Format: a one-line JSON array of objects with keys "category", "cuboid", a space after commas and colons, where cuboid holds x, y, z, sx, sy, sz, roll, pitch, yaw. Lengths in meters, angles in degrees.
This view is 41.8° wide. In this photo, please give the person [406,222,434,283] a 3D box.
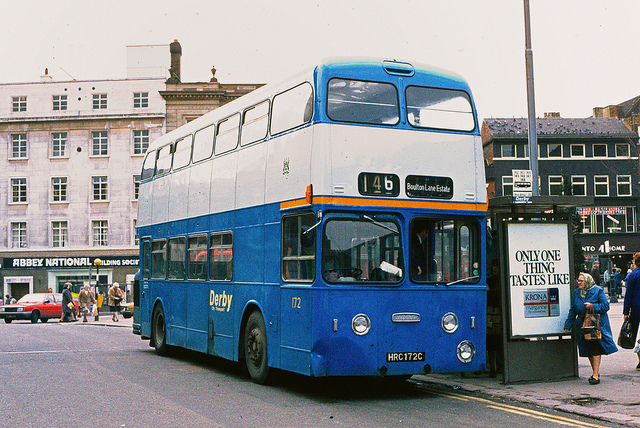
[{"category": "person", "cuboid": [2.179, 0.823, 18.300, 0.689, 1.240, 0.177, -2, -3, -32]}]

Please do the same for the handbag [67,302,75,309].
[{"category": "handbag", "cuboid": [-12.601, 4.612, 42.187, 0.332, 0.346, 0.097, 3, -1, -38]}]

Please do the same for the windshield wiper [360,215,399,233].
[{"category": "windshield wiper", "cuboid": [1.193, 0.235, 17.985, 0.788, 0.091, 0.088, 31, 16, -14]}]

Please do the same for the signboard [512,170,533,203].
[{"category": "signboard", "cuboid": [4.755, -0.635, 19.657, 0.439, 0.832, 0.111, 1, -20, 10]}]

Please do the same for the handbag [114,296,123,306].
[{"category": "handbag", "cuboid": [-10.419, 4.457, 43.091, 0.317, 0.490, 0.106, 4, -9, -32]}]

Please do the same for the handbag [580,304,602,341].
[{"category": "handbag", "cuboid": [6.231, 2.489, 19.298, 0.513, 0.951, 0.265, -12, -26, 41]}]

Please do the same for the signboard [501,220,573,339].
[{"category": "signboard", "cuboid": [5.155, 1.564, 19.718, 1.860, 3.080, 0.140, -1, 0, -7]}]

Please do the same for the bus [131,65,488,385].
[{"category": "bus", "cuboid": [-0.063, 0.507, 19.404, 3.226, 4.028, 7.824, 2, -3, -26]}]
